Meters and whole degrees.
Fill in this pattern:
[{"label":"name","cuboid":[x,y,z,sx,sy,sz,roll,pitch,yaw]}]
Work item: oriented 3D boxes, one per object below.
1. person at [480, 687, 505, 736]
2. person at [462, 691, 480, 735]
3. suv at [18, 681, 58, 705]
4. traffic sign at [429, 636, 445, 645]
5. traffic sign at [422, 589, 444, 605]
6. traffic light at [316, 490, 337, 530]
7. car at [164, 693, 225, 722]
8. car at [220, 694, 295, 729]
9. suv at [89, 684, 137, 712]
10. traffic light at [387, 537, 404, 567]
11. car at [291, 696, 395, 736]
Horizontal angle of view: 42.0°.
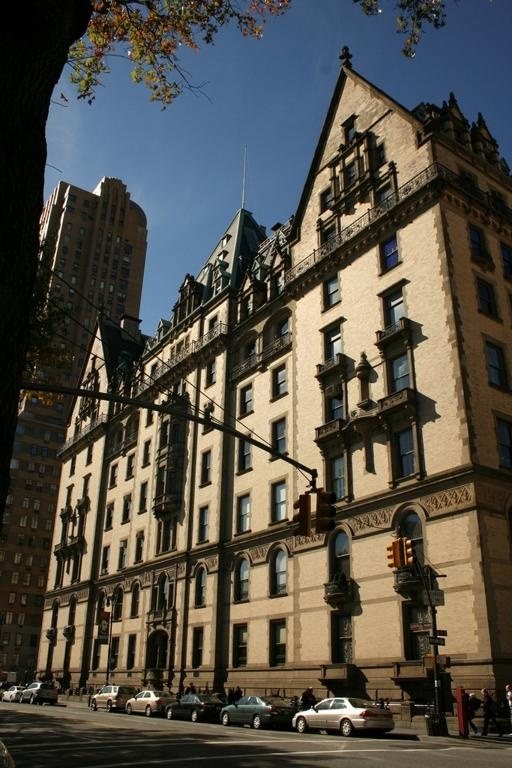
[{"label":"person","cuboid":[7.737,10.844,22.057,0.630,1.382,1.761,-7,-27,17]},{"label":"person","cuboid":[7.276,11.012,22.368,0.463,1.257,2.016,-6,-27,15]},{"label":"suv","cuboid":[-16.031,22.825,49.092,1.654,1.304,3.572,21,-42,-35]},{"label":"traffic sign","cuboid":[5.975,8.502,22.015,0.506,0.144,0.538,3,-11,23]},{"label":"traffic sign","cuboid":[5.992,7.225,22.607,0.746,0.452,0.115,16,-28,-28]},{"label":"traffic light","cuboid":[1.714,3.075,16.451,0.427,1.206,0.787,1,-26,2]},{"label":"car","cuboid":[-2.837,15.585,32.075,1.357,1.191,3.336,18,-31,-31]},{"label":"car","cuboid":[-0.014,14.084,28.645,1.538,1.232,4.453,14,-29,-25]},{"label":"suv","cuboid":[-8.507,18.812,39.800,1.712,1.425,3.616,30,-44,-33]},{"label":"traffic light","cuboid":[4.274,5.218,20.500,0.463,0.974,1.487,-3,-26,9]},{"label":"car","cuboid":[3.057,11.573,23.760,1.635,1.248,3.789,31,-41,-33]}]
